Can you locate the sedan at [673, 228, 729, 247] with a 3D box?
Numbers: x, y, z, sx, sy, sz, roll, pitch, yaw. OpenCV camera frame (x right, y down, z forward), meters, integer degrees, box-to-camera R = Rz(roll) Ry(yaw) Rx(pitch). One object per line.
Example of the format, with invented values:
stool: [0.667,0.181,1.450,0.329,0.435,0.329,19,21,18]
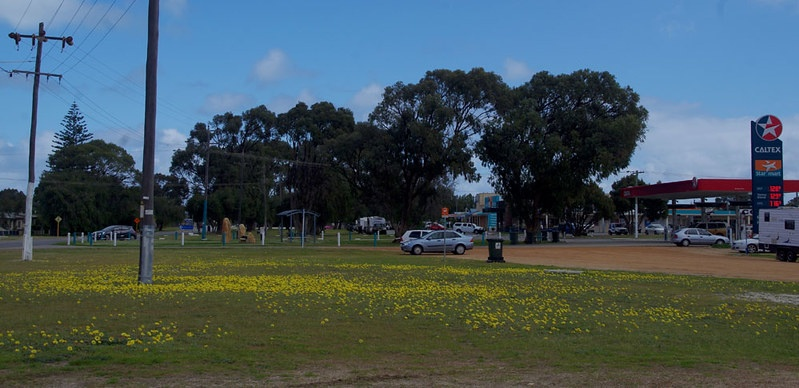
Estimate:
sedan: [34.346,5.024,76.614,5.661,1.620,2.450,-1,-1,1]

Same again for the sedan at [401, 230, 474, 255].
sedan: [3.519,4.358,61.283,6.508,1.847,2.571,2,-6,-4]
